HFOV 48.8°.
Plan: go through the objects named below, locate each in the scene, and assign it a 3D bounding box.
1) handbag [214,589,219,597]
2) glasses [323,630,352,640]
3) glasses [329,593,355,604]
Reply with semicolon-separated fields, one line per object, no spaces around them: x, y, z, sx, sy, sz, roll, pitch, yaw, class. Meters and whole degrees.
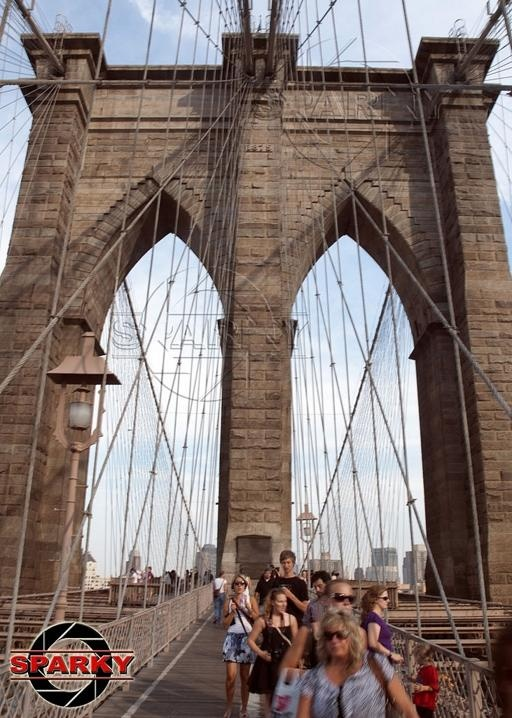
-0.821;4.905;11.751;0.161;0.159;0.202;3;-21;-4;handbag
0.243;0.856;1.739;0.080;0.029;0.024;-10;-23;23;glasses
0.460;1.196;2.819;0.088;0.046;0.236;-10;-23;24;glasses
